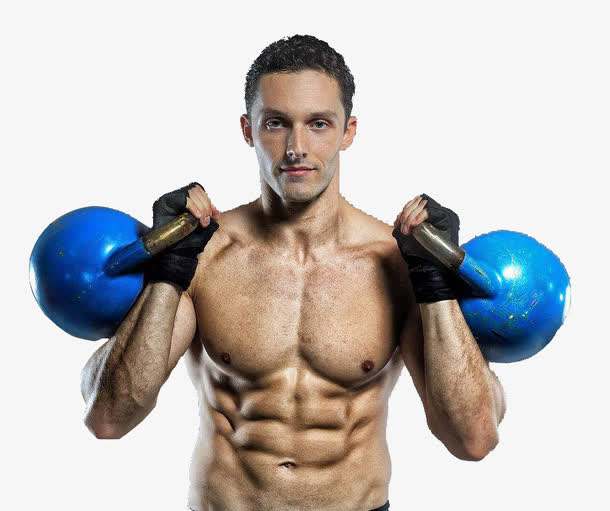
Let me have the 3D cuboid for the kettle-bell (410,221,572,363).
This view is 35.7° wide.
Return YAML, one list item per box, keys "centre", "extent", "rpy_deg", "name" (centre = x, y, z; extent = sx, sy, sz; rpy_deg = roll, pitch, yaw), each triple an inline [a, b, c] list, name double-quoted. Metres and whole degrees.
- centre: [0.848, 0.156, 4.007]
  extent: [0.511, 0.530, 0.253]
  rpy_deg: [6, -14, -8]
  name: "kettle-bell"

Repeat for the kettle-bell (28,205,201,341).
- centre: [-0.876, 0.055, 4.100]
  extent: [0.738, 0.443, 0.379]
  rpy_deg: [-24, 4, 1]
  name: "kettle-bell"

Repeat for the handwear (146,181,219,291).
- centre: [-0.531, -0.090, 4.105]
  extent: [0.150, 0.447, 0.330]
  rpy_deg: [31, -8, -15]
  name: "handwear"
